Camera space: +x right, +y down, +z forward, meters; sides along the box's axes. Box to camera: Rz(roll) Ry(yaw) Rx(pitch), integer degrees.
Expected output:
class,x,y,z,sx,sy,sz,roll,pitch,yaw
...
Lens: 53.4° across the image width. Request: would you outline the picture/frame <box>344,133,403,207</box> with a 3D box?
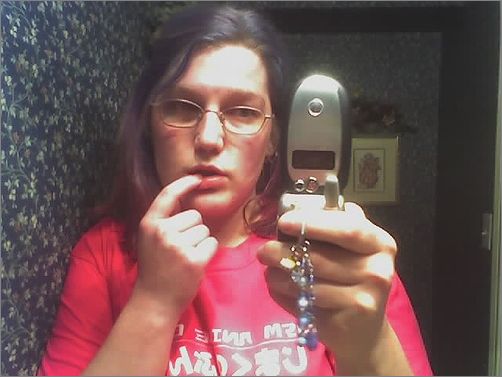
class,x,y,z,sx,sy,sz,roll,pitch,yaw
picture/frame,0.243,-0.039,1.026,0.112,0.141,0.007,2,18,19
